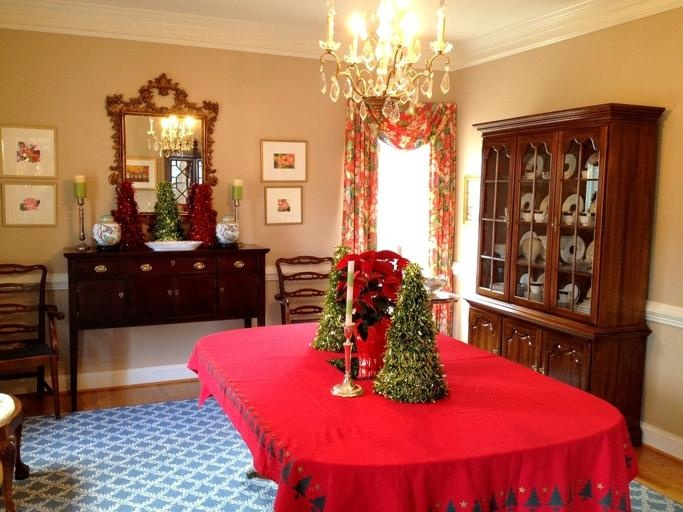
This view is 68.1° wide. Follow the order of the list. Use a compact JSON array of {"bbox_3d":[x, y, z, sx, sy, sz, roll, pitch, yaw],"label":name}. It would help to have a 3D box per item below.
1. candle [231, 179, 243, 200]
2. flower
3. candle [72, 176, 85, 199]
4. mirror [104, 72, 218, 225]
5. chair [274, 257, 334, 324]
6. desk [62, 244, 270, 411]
[{"bbox_3d":[-1.058,-0.672,5.170,0.121,0.221,0.246,-2,10,-12],"label":"candle"},{"bbox_3d":[0.156,0.155,2.734,0.420,0.454,0.431,-5,6,-24],"label":"flower"},{"bbox_3d":[-2.382,-0.621,4.601,0.087,0.212,0.089,-6,12,-33],"label":"candle"},{"bbox_3d":[-1.811,-1.062,4.940,1.383,1.917,0.084,-3,7,-31],"label":"mirror"},{"bbox_3d":[-0.429,0.388,5.638,0.673,1.083,0.690,-1,2,-14],"label":"chair"},{"bbox_3d":[-1.605,0.587,4.405,1.378,1.100,0.484,-2,2,-26],"label":"desk"}]
